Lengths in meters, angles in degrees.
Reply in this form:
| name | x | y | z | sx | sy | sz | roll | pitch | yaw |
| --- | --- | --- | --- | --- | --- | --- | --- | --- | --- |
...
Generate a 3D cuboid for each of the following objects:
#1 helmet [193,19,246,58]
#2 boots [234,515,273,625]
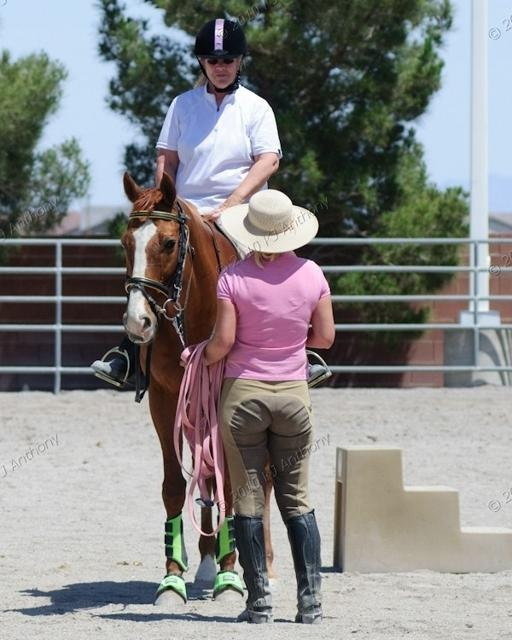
| name | x | y | z | sx | sy | sz | roll | pitch | yaw |
| --- | --- | --- | --- | --- | --- | --- | --- | --- | --- |
| helmet | -0.241 | -1.934 | 12.565 | 0.355 | 0.279 | 0.204 | 1 | 1 | -5 |
| boots | -0.010 | 1.577 | 11.503 | 0.192 | 0.694 | 0.242 | 4 | -7 | -41 |
